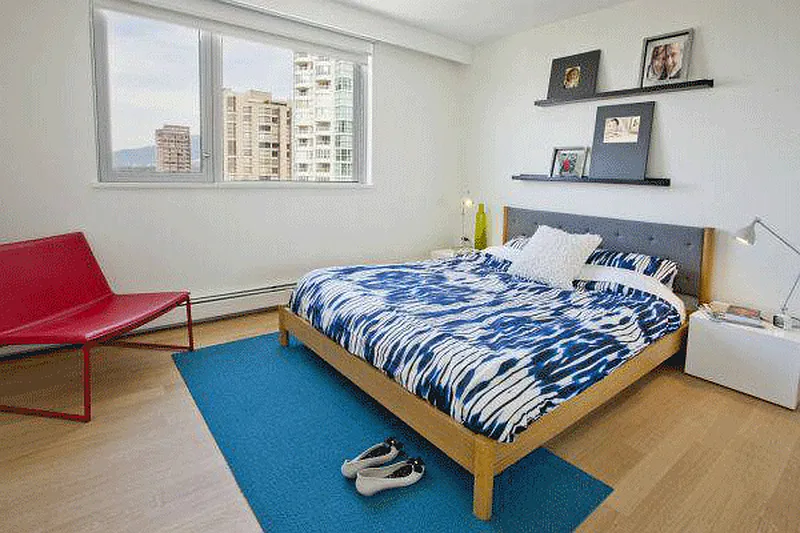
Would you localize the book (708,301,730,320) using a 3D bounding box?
[{"bbox_3d":[2.642,0.356,3.865,0.179,0.060,0.144,3,11,38],"label":"book"}]

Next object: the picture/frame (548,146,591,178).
[{"bbox_3d":[1.751,-1.071,4.762,0.049,0.353,0.376,4,3,-40],"label":"picture/frame"}]

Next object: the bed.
[{"bbox_3d":[1.173,0.682,3.655,2.714,1.130,2.261,-9,17,-39],"label":"bed"}]

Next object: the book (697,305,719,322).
[{"bbox_3d":[2.493,0.369,3.758,0.089,0.042,0.127,22,19,39],"label":"book"}]

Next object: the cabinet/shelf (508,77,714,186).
[{"bbox_3d":[2.035,-1.244,4.440,1.395,0.986,0.254,18,22,41],"label":"cabinet/shelf"}]

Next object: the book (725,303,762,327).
[{"bbox_3d":[2.698,0.380,3.650,0.190,0.044,0.185,-11,16,-43],"label":"book"}]

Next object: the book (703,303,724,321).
[{"bbox_3d":[2.520,0.367,3.760,0.139,0.049,0.100,-9,19,-39],"label":"book"}]

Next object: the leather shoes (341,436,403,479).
[{"bbox_3d":[-0.146,1.160,2.837,0.151,0.106,0.392,9,17,39],"label":"leather shoes"}]

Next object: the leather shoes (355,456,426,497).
[{"bbox_3d":[-0.048,1.234,2.752,0.403,0.118,0.159,-10,14,-31],"label":"leather shoes"}]
